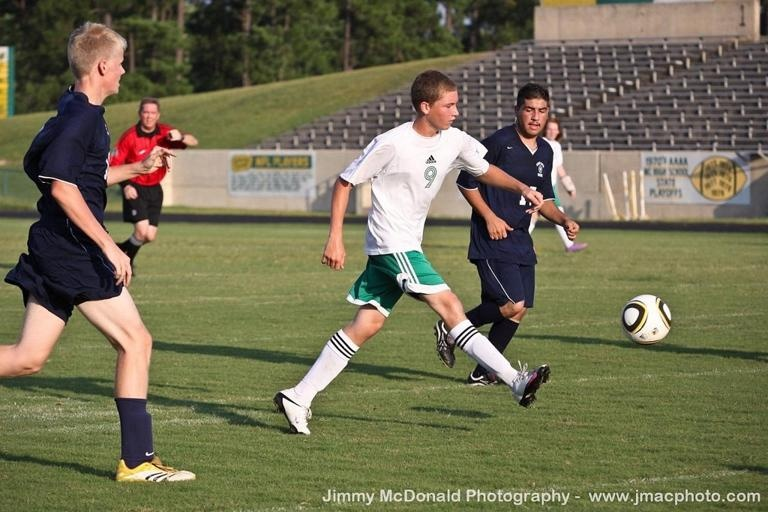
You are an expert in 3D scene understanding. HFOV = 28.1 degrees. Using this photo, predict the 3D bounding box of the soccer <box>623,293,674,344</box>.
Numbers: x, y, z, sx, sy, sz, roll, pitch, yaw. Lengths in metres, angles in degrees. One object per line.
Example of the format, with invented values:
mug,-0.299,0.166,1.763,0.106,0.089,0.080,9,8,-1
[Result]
soccer,3.598,0.788,20.921,0.666,0.672,0.653,-4,14,11

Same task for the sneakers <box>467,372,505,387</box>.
sneakers,1.321,1.567,19.905,0.477,0.183,0.165,-1,-3,0

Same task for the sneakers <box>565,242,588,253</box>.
sneakers,3.623,-0.194,28.996,0.443,0.178,0.147,-5,12,33
